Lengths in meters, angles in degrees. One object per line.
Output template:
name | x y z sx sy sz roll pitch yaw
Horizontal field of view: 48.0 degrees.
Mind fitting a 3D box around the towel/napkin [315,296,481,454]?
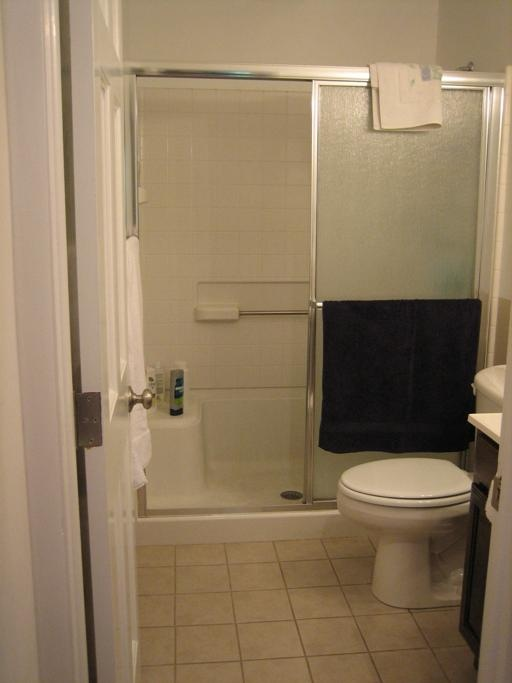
towel/napkin | 0.552 0.162 2.266 0.584 0.681 0.092 -1 -21 18

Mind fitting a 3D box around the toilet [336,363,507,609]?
toilet | 0.469 0.572 2.256 0.758 0.988 0.480 0 3 -2

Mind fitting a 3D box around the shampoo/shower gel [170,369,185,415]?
shampoo/shower gel | -0.359 0.242 2.659 0.073 0.205 0.018 -2 6 -41
